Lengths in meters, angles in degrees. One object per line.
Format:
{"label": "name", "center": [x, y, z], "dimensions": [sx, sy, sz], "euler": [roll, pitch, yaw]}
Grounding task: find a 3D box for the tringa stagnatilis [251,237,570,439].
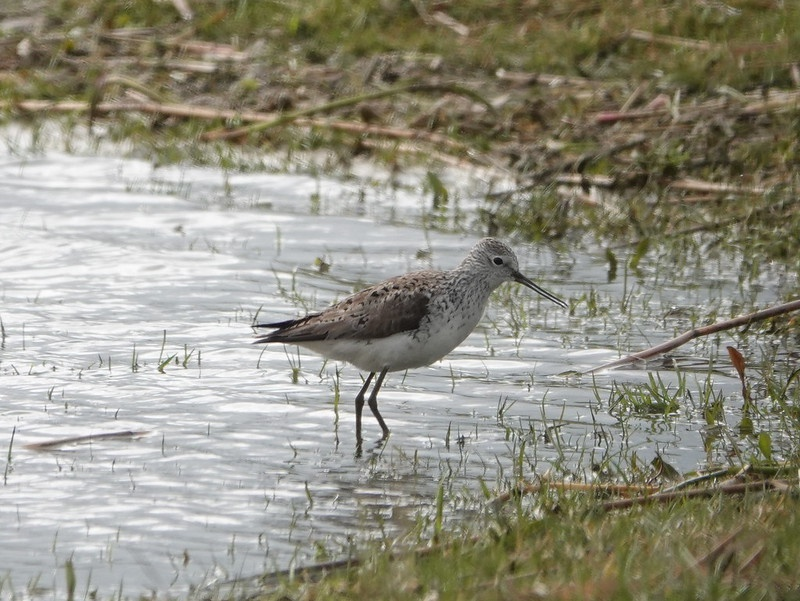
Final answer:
{"label": "tringa stagnatilis", "center": [0.069, 0.346, 7.215], "dimensions": [2.374, 0.581, 1.175], "euler": [2, 84, -5]}
